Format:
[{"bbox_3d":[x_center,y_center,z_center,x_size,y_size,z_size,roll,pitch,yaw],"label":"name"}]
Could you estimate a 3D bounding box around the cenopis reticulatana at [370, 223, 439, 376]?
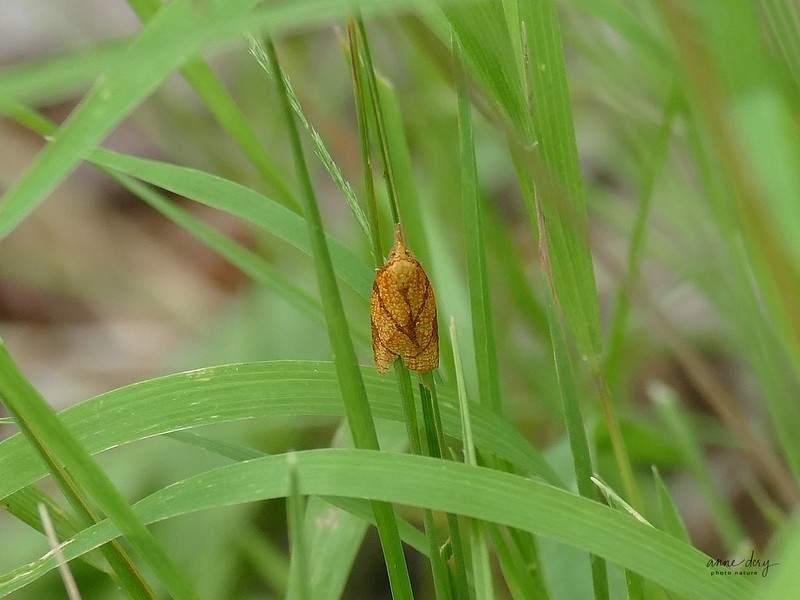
[{"bbox_3d":[-0.005,0.005,0.687,0.060,0.039,0.126,2,68,-32],"label":"cenopis reticulatana"}]
